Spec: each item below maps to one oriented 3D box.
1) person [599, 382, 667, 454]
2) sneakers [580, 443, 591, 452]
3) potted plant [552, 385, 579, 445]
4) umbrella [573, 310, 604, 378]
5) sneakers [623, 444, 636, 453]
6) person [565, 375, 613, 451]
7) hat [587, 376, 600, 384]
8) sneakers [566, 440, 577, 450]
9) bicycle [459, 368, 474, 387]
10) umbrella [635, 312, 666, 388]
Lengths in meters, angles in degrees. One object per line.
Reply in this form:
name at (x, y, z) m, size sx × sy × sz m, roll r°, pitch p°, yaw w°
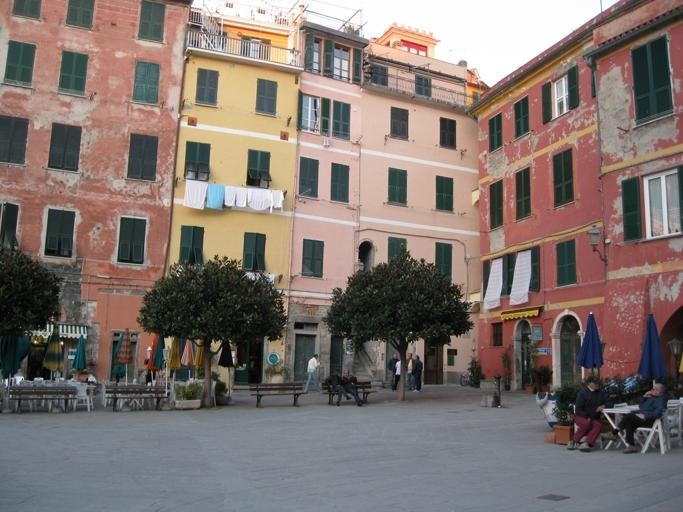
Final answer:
person at (6.858, 3.703, 16.647) m, size 1.083 × 1.784 × 0.727 m, roll 17°, pitch -14°, yaw 12°
sneakers at (5.611, 4.338, 16.419) m, size 0.338 × 0.205 × 0.180 m, roll 7°, pitch -14°, yaw -24°
potted plant at (5.452, 3.843, 17.363) m, size 0.887 × 1.438 × 0.742 m, roll -3°, pitch -21°, yaw 24°
umbrella at (7.373, 2.488, 21.349) m, size 0.670 × 1.609 × 1.028 m, roll -3°, pitch -13°, yaw 18°
sneakers at (6.491, 4.287, 16.122) m, size 0.301 × 0.134 × 0.123 m, roll 1°, pitch -12°, yaw -25°
person at (5.883, 3.781, 17.081) m, size 0.782 × 1.977 × 1.061 m, roll 9°, pitch -33°, yaw 3°
hat at (6.051, 2.976, 17.250) m, size 0.203 × 0.213 × 0.188 m, roll -19°, pitch -9°, yaw 25°
sneakers at (5.303, 4.333, 16.534) m, size 0.213 × 0.225 × 0.138 m, roll -3°, pitch -7°, yaw 32°
bicycle at (6.240, 6.047, 35.799) m, size 0.460 × 0.606 × 0.965 m, roll -3°, pitch -14°, yaw 19°
umbrella at (8.789, 2.570, 20.410) m, size 0.672 × 1.852 × 0.436 m, roll -3°, pitch -13°, yaw 20°
